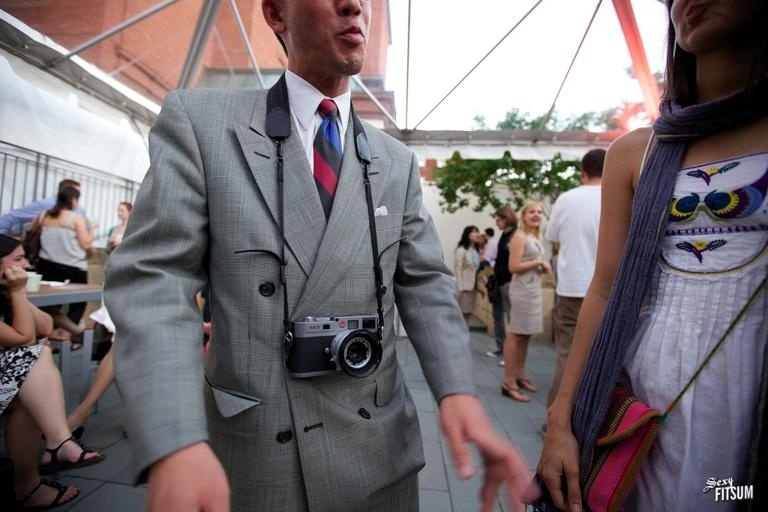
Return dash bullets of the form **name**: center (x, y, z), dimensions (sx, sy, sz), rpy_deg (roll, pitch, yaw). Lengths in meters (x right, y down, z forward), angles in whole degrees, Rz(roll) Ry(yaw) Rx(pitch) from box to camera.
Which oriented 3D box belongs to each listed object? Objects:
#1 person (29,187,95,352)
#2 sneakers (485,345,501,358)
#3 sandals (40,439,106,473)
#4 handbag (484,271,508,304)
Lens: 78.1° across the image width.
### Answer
- **person**: center (-4.047, -0.006, 5.852), dimensions (0.683, 1.921, 0.625), rpy_deg (3, 27, -30)
- **sneakers**: center (1.548, 1.378, 6.745), dimensions (0.245, 0.103, 0.093), rpy_deg (8, -11, -30)
- **sandals**: center (-2.094, 1.345, 3.241), dimensions (0.393, 0.189, 0.176), rpy_deg (0, -4, -27)
- **handbag**: center (1.467, 0.429, 6.277), dimensions (0.124, 0.364, 0.258), rpy_deg (0, 11, -15)
